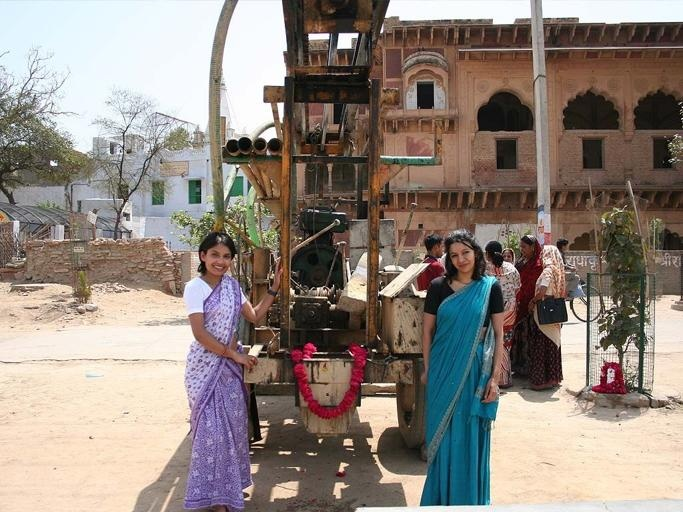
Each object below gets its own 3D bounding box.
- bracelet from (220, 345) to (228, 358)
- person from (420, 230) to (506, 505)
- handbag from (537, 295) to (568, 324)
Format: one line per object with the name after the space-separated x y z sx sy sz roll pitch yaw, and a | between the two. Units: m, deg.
-1.560 1.247 10.989 0.103 0.111 0.109 0 -4 13 | bracelet
1.576 1.454 10.935 1.026 3.586 0.277 2 -2 10 | person
3.626 0.920 14.563 0.600 0.618 0.400 -1 -1 2 | handbag
